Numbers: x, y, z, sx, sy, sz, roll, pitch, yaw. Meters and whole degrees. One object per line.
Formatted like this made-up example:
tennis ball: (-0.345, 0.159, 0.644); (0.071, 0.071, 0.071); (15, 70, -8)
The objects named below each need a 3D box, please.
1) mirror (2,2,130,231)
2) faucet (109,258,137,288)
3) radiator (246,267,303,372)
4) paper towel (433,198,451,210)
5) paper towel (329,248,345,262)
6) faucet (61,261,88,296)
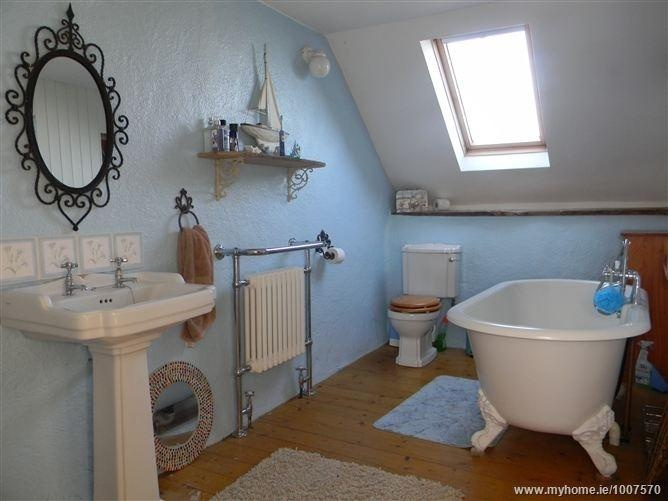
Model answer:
mirror: (-1.271, -0.633, 2.360); (0.121, 1.072, 0.561); (4, 11, 27)
faucet: (-1.086, 0.108, 2.465); (0.167, 0.163, 0.106); (4, 5, 29)
radiator: (-0.424, 0.451, 3.326); (0.142, 0.742, 0.715); (5, 6, 37)
paper towel: (1.093, -0.458, 4.902); (0.107, 0.113, 0.153); (2, -1, 10)
paper towel: (0.001, 0.037, 3.928); (0.145, 0.120, 0.094); (-2, 10, -8)
faucet: (-1.253, 0.130, 2.314); (0.093, 0.158, 0.158); (-1, 5, 2)
